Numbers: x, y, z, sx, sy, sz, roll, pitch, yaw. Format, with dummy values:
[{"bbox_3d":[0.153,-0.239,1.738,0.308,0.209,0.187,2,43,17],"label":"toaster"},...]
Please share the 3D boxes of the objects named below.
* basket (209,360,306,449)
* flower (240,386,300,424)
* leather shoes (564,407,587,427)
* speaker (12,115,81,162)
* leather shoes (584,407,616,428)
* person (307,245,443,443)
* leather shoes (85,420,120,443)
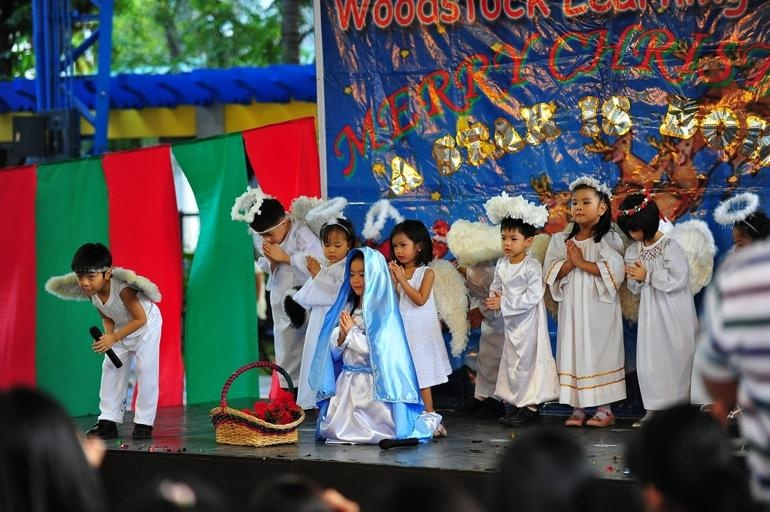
[{"bbox_3d":[-0.921,1.076,7.706,0.499,0.616,0.661,-10,-13,44],"label":"basket"},{"bbox_3d":[-0.803,1.061,7.652,0.236,0.169,0.276,19,-6,-41],"label":"flower"},{"bbox_3d":[1.447,1.203,8.031,0.099,0.103,0.258,-3,-10,16],"label":"leather shoes"},{"bbox_3d":[-3.039,-1.078,9.493,0.565,0.430,0.297,1,-6,-20],"label":"speaker"},{"bbox_3d":[1.615,1.201,7.965,0.111,0.102,0.219,-5,-8,32],"label":"leather shoes"},{"bbox_3d":[-0.074,0.657,7.801,0.820,1.381,1.022,13,-17,-38],"label":"person"},{"bbox_3d":[-2.102,1.275,7.876,0.239,0.106,0.114,10,-10,-37],"label":"leather shoes"}]
